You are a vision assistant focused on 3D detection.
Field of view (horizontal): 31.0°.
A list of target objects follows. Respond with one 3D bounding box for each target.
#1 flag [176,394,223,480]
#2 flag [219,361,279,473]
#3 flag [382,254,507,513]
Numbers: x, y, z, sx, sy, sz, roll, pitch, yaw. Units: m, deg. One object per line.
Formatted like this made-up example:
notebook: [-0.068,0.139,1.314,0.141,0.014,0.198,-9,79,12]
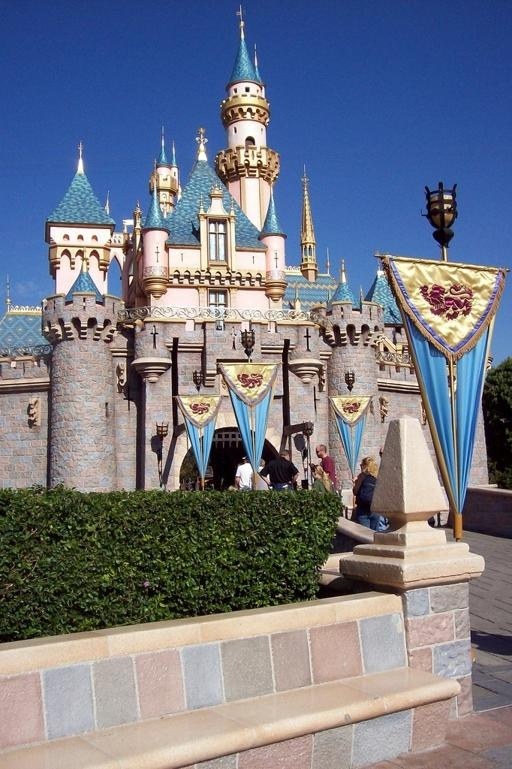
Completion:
flag: [-1.095,1.054,18.059,0.803,1.656,0.875,-1,1,-8]
flag: [-0.128,0.575,17.008,0.959,1.919,1.623,-1,1,-2]
flag: [1.405,-0.014,6.758,0.974,1.807,0.459,-1,1,-11]
